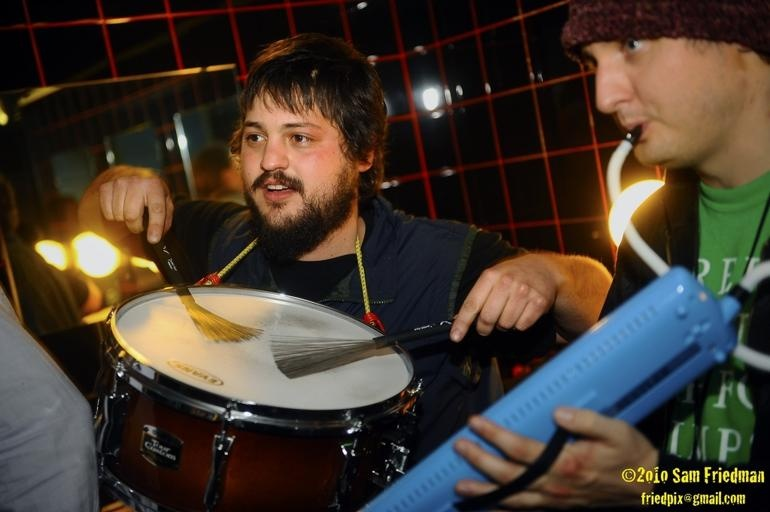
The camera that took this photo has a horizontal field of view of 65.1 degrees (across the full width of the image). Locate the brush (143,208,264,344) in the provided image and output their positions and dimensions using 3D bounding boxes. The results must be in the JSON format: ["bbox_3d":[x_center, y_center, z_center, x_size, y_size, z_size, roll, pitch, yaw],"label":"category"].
[{"bbox_3d":[-0.562,0.032,1.782,0.195,0.050,0.521,-5,39,-36],"label":"brush"}]
